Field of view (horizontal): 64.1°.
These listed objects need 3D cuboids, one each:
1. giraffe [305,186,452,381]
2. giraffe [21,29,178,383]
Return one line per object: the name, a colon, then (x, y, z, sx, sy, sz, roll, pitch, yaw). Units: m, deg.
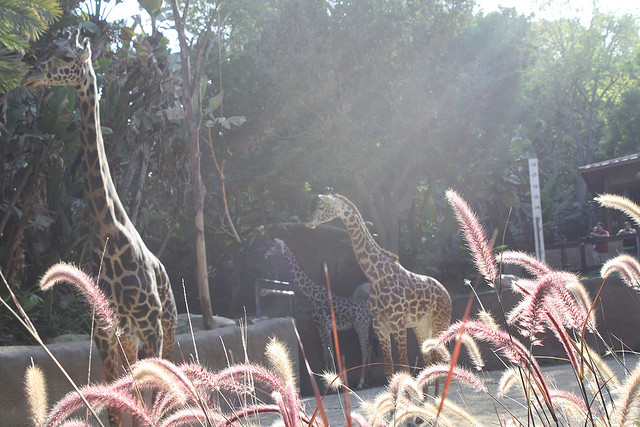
giraffe: (0.822, 0.758, 6.522, 1.538, 2.208, 0.571, -7, -6, 15)
giraffe: (-1.909, -0.166, 4.586, 0.982, 3.044, 0.528, -4, -5, -11)
